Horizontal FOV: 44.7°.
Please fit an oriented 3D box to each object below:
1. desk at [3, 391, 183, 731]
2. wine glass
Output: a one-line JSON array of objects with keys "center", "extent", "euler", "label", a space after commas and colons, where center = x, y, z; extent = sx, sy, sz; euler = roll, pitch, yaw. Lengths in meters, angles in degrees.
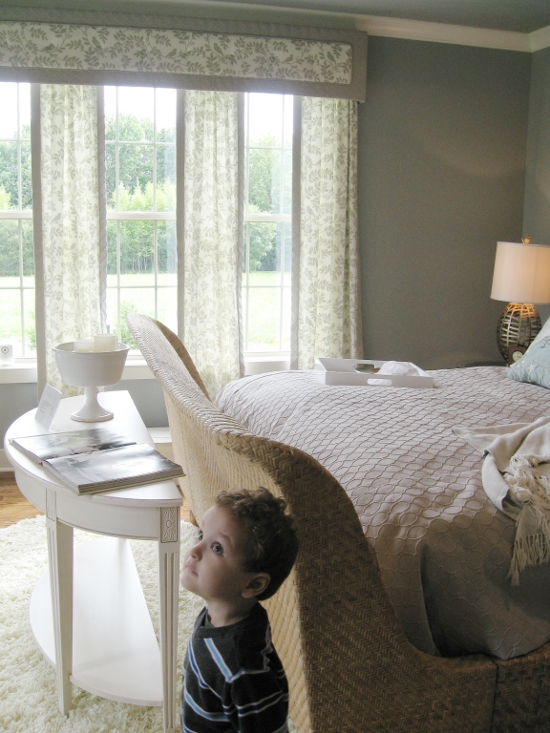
[{"center": [-0.500, 0.565, 1.839], "extent": [0.318, 0.477, 0.764], "euler": [-1, 18, -18], "label": "desk"}, {"center": [-0.540, 0.034, 2.071], "extent": [0.246, 0.242, 0.243], "euler": [3, 7, 8], "label": "wine glass"}]
